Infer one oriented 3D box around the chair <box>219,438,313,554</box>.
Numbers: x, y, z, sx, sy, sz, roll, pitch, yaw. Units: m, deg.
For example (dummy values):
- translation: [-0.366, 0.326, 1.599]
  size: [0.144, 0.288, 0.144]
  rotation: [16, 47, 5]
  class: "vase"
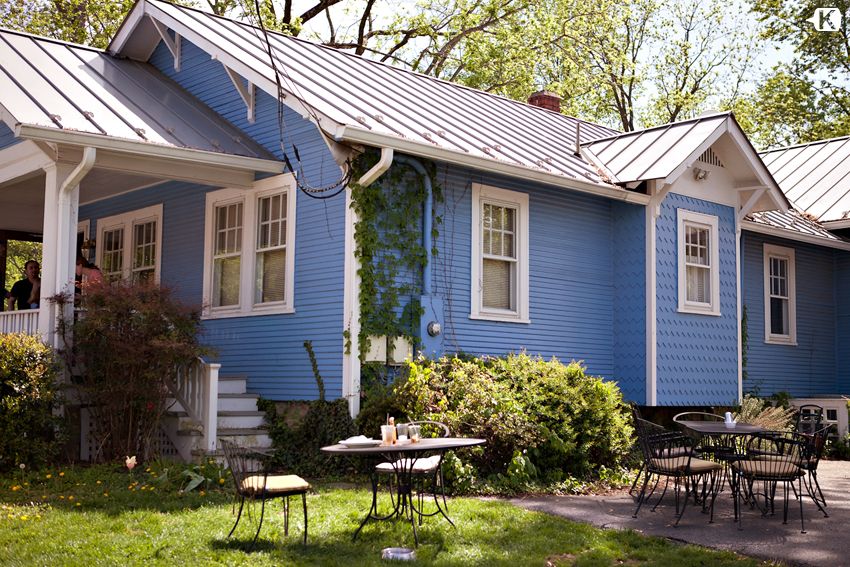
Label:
- translation: [-2.398, 2.868, 13.889]
  size: [1.547, 2.092, 1.353]
  rotation: [1, -4, -21]
  class: "chair"
